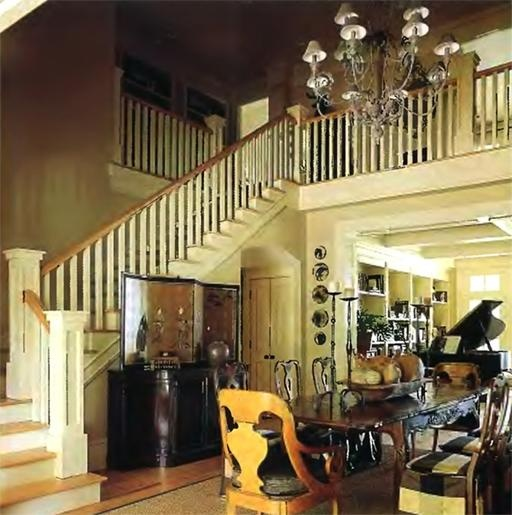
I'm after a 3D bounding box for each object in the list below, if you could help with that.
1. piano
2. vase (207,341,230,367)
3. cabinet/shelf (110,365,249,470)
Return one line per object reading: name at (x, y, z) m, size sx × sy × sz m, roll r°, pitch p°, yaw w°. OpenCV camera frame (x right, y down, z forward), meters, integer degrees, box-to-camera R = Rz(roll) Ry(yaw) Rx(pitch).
piano at (2.934, 1.184, 9.121) m, size 1.265 × 1.582 × 1.169 m, roll 0°, pitch -5°, yaw 16°
vase at (-0.406, 1.063, 6.830) m, size 0.226 × 0.232 × 0.235 m, roll 1°, pitch -7°, yaw -6°
cabinet/shelf at (-0.781, 1.485, 5.763) m, size 0.398 × 0.742 × 1.113 m, roll -8°, pitch -9°, yaw 38°
